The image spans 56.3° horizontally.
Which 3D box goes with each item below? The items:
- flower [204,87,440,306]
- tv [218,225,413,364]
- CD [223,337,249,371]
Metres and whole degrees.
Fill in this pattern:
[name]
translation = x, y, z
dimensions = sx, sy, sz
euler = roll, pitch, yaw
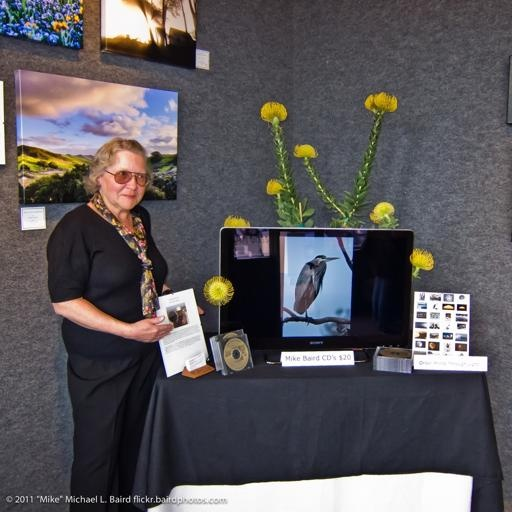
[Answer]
[flower]
translation = 0.330, -0.292, 2.280
dimensions = 1.330, 1.135, 0.376
euler = 0, -3, -3
[tv]
translation = 0.225, 0.151, 1.939
dimensions = 0.610, 0.375, 0.170
euler = 0, -1, -6
[CD]
translation = -0.075, 0.382, 1.833
dimensions = 0.121, 0.113, 0.028
euler = -9, -3, -43
